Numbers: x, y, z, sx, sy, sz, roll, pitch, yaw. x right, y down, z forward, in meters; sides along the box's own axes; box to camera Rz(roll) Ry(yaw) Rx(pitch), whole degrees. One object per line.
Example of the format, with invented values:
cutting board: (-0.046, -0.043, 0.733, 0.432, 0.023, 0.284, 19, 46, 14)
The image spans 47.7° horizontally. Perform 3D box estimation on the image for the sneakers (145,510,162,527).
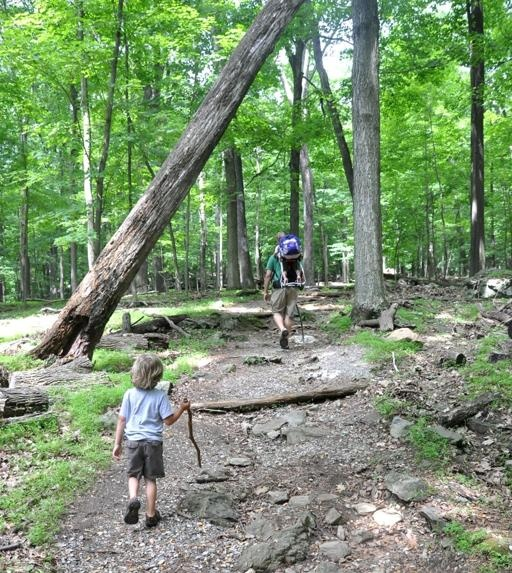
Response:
sneakers: (-0.898, 2.055, 5.092, 0.158, 0.121, 0.085, -2, 2, -19)

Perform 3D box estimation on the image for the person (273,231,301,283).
person: (0.678, -0.448, 10.262, 0.632, 0.768, 0.833, 0, 14, 10)

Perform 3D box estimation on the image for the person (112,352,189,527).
person: (-0.948, 1.353, 5.179, 0.646, 1.517, 0.604, -3, 2, -8)

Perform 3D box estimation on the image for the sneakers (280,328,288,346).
sneakers: (0.496, 0.889, 9.997, 0.147, 0.295, 0.142, 3, 7, 5)

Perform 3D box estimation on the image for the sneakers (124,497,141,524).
sneakers: (-1.042, 1.911, 4.890, 0.123, 0.228, 0.096, 5, 11, -20)
